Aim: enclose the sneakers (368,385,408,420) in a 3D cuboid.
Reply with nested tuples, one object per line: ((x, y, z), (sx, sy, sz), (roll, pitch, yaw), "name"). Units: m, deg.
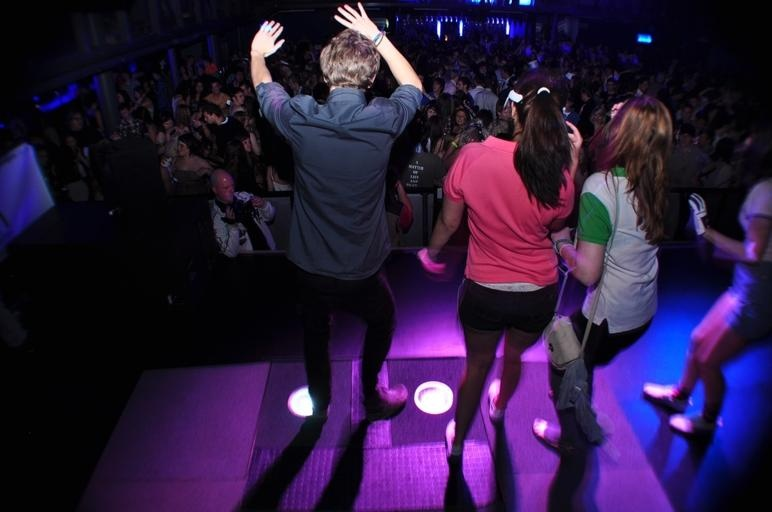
((0.017, 1.156, 3.685), (0.284, 0.270, 0.231), (5, 13, -1), "sneakers")

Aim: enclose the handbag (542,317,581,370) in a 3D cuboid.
((1.256, 0.613, 3.274), (0.246, 0.342, 0.130), (4, 15, 4), "handbag")

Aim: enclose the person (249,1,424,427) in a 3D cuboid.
((-0.323, -0.133, 3.328), (1.073, 2.787, 0.746), (3, 26, 2), "person")

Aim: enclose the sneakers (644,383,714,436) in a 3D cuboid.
((2.382, 1.258, 3.879), (0.205, 0.233, 0.585), (-36, 36, -10), "sneakers")

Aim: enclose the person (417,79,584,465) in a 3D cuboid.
((0.776, 0.149, 3.262), (0.801, 2.571, 0.671), (-8, 28, -19), "person")
